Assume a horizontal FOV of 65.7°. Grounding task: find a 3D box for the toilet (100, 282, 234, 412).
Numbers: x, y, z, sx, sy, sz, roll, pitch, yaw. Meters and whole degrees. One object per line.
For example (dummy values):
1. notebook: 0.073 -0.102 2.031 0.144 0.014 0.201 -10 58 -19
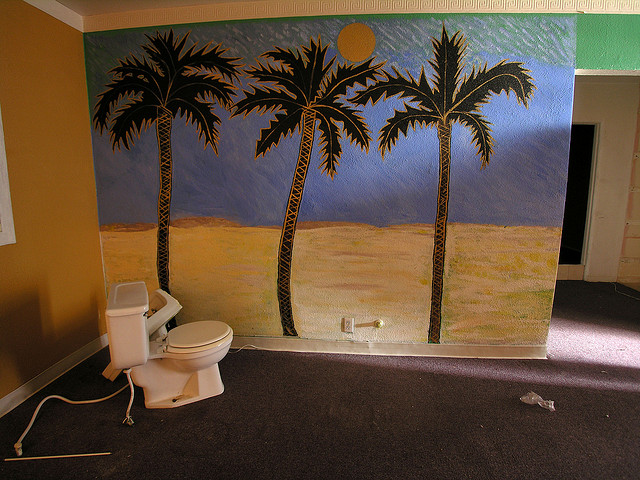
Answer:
1. toilet: -1.240 0.893 4.215 0.989 0.987 0.609 -6 17 -19
